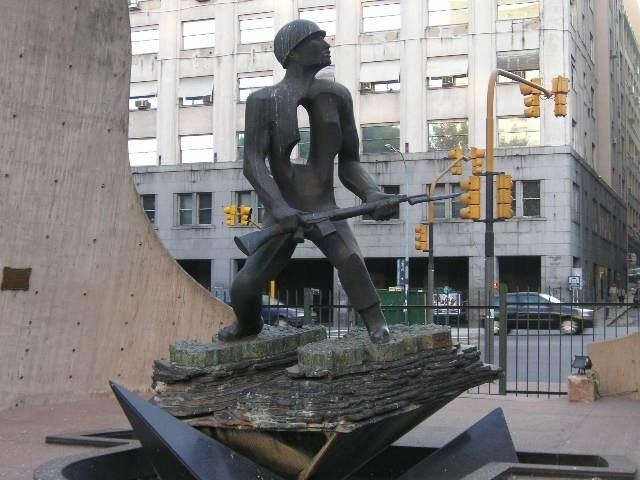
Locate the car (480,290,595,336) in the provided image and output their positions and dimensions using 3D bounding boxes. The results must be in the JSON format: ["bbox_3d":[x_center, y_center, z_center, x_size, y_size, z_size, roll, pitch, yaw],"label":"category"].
[{"bbox_3d":[5.663,2.015,33.436,3.111,1.361,1.468,-2,-4,5],"label":"car"}]

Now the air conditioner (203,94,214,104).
[{"bbox_3d":[-4.303,-5.313,49.151,0.294,0.317,0.099,-1,9,-5],"label":"air conditioner"}]

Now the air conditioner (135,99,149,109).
[{"bbox_3d":[-6.940,-5.154,50.017,0.357,0.256,0.367,0,-8,-10],"label":"air conditioner"}]

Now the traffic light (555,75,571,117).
[{"bbox_3d":[5.968,-3.487,31.678,0.384,0.991,1.089,-3,-4,11],"label":"traffic light"}]

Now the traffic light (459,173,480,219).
[{"bbox_3d":[3.741,-0.979,31.820,0.497,1.031,0.438,-2,1,10],"label":"traffic light"}]

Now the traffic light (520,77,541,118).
[{"bbox_3d":[5.330,-3.531,32.282,0.459,1.307,1.888,-3,-4,9],"label":"traffic light"}]

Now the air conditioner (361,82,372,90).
[{"bbox_3d":[1.672,-5.491,46.832,0.284,0.225,0.294,-1,-7,17],"label":"air conditioner"}]

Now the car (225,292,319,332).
[{"bbox_3d":[-0.804,2.092,35.823,1.923,0.976,1.014,-2,-3,18],"label":"car"}]

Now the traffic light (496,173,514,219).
[{"bbox_3d":[4.569,-0.956,31.540,0.407,1.155,0.253,1,-21,7],"label":"traffic light"}]
